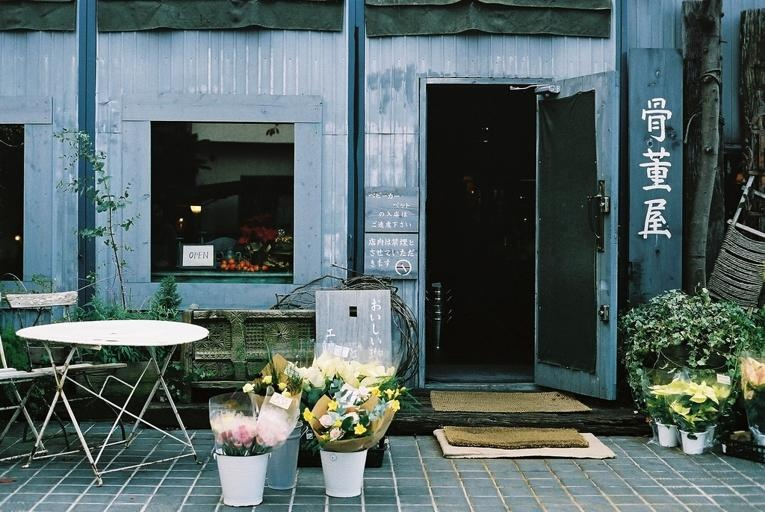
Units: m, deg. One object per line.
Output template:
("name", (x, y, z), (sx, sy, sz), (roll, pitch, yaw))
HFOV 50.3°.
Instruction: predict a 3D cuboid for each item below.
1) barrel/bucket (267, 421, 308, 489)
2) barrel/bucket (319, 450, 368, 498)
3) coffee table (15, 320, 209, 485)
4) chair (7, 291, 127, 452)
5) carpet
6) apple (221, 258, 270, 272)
("barrel/bucket", (-0.874, 1.779, 7.386), (0.358, 0.504, 0.355), (4, 5, 0))
("barrel/bucket", (-0.341, 1.871, 7.310), (0.544, 0.364, 0.407), (3, 3, -3))
("coffee table", (-2.426, 1.213, 7.777), (1.551, 1.205, 1.652), (0, -3, 39))
("chair", (-3.154, 1.213, 8.144), (0.760, 1.053, 1.380), (8, 1, 17))
("carpet", (1.361, 1.713, 8.374), (1.695, 0.343, 1.297), (-1, 5, 2))
("apple", (-1.587, 0.115, 9.322), (0.399, 0.146, 0.219), (-1, -4, -1))
